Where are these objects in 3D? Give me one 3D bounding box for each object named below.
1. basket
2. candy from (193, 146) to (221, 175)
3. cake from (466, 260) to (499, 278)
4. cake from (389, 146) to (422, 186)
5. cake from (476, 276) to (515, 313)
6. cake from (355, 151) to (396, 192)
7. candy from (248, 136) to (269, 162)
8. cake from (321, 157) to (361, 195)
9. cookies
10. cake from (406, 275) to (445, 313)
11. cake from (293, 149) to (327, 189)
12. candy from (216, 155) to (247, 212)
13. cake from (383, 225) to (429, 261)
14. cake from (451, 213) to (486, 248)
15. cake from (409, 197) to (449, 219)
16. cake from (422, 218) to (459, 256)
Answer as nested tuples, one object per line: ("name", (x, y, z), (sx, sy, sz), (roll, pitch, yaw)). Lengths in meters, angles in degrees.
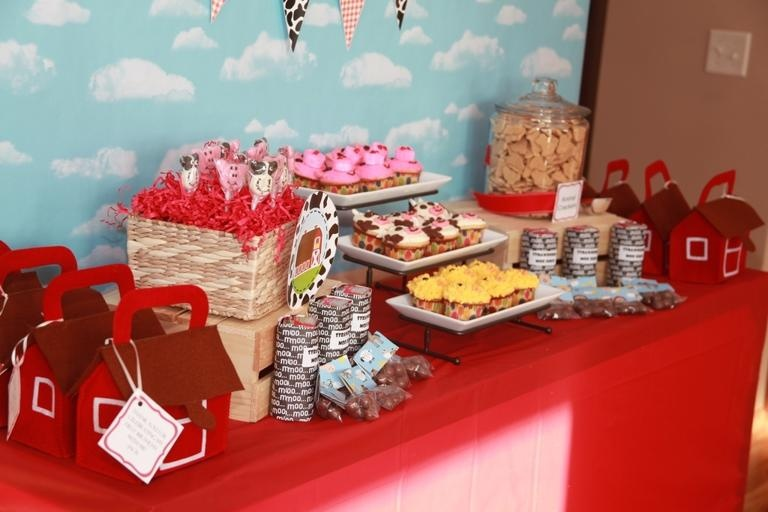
("basket", (-0.424, -0.035, 1.461), (0.312, 0.186, 0.317), (12, 15, 23))
("candy", (-0.469, -0.259, 1.619), (0.080, 0.089, 0.074), (7, 9, 42))
("cake", (0.322, 0.040, 1.929), (0.065, 0.030, 0.076), (5, 12, 5))
("cake", (0.080, -0.339, 2.193), (0.131, 0.121, 0.133), (1, 13, 1))
("cake", (0.345, 0.118, 1.847), (0.100, 0.101, 0.102), (1, 9, 0))
("cake", (-0.025, -0.299, 2.047), (0.134, 0.135, 0.135), (0, 12, 1))
("candy", (-0.358, -0.302, 1.679), (0.079, 0.039, 0.085), (-28, 19, -14))
("cake", (-0.140, -0.271, 1.977), (0.125, 0.123, 0.126), (0, 8, -8))
("cookies", (0.624, -0.404, 2.525), (0.343, 0.332, 0.343), (6, 9, -2))
("cake", (0.132, 0.110, 1.809), (0.105, 0.079, 0.106), (6, 7, 36))
("cake", (-0.235, -0.307, 2.073), (0.121, 0.138, 0.122), (7, 9, 0))
("candy", (-0.386, -0.197, 1.514), (0.075, 0.107, 0.087), (-5, 13, -16))
("cake", (0.068, -0.042, 1.838), (0.111, 0.077, 0.112), (-4, 10, -43))
("cake", (0.288, -0.088, 2.002), (0.106, 0.101, 0.116), (1, 5, 2))
("cake", (0.147, -0.163, 2.015), (0.091, 0.040, 0.109), (-9, 20, -43))
("cake", (0.183, -0.066, 1.905), (0.111, 0.100, 0.112), (1, 9, 0))
